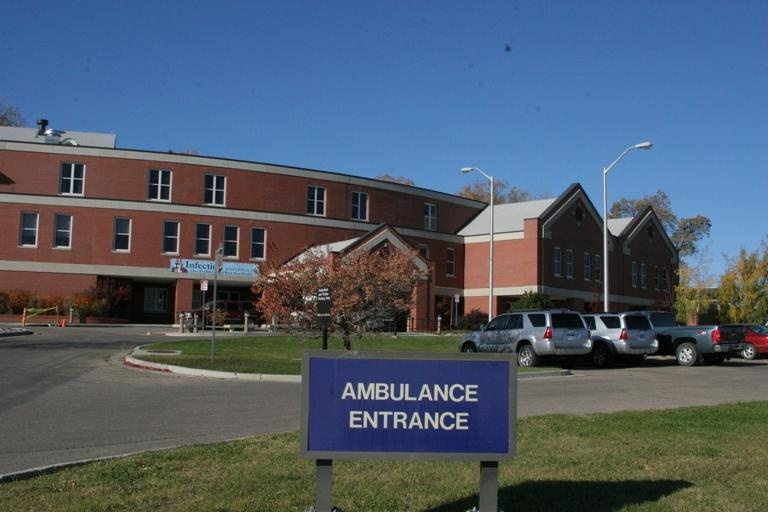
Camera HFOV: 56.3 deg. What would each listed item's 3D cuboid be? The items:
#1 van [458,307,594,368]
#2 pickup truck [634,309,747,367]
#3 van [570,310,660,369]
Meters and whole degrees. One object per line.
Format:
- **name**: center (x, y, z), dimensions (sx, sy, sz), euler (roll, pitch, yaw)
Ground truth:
- **van**: center (5.398, 2.983, 26.586), dimensions (4.143, 2.089, 1.450), euler (1, -3, 21)
- **pickup truck**: center (12.133, 3.188, 28.799), dimensions (2.078, 1.454, 4.105), euler (5, -4, -40)
- **van**: center (9.033, 3.246, 28.118), dimensions (1.725, 1.454, 3.063), euler (2, -2, -34)
